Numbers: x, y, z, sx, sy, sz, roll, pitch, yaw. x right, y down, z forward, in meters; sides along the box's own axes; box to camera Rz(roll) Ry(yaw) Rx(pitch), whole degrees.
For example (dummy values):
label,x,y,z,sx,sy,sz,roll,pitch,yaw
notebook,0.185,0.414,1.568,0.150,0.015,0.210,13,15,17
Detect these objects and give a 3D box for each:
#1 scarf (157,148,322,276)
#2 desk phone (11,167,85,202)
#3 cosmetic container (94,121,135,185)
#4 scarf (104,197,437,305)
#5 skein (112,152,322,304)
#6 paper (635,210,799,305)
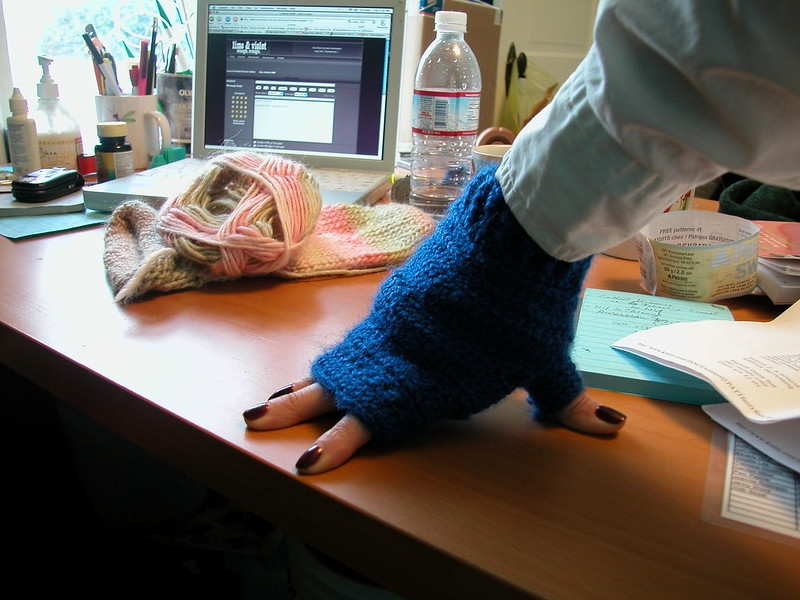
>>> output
label,x,y,z,sx,sy,sz,roll,pitch,yaw
scarf,-0.198,-0.119,0.678,0.116,0.060,0.131,26,-18,-9
desk phone,-0.543,-0.184,0.879,0.050,0.028,0.098,2,20,8
cosmetic container,-0.502,-0.254,1.000,0.064,0.107,0.065,27,30,36
scarf,-0.168,-0.061,0.712,0.319,0.054,0.190,-4,20,-15
skein,-0.210,-0.069,0.713,0.232,0.115,0.170,-16,45,-13
paper,0.379,-0.059,0.701,0.145,0.086,0.142,-6,26,7
